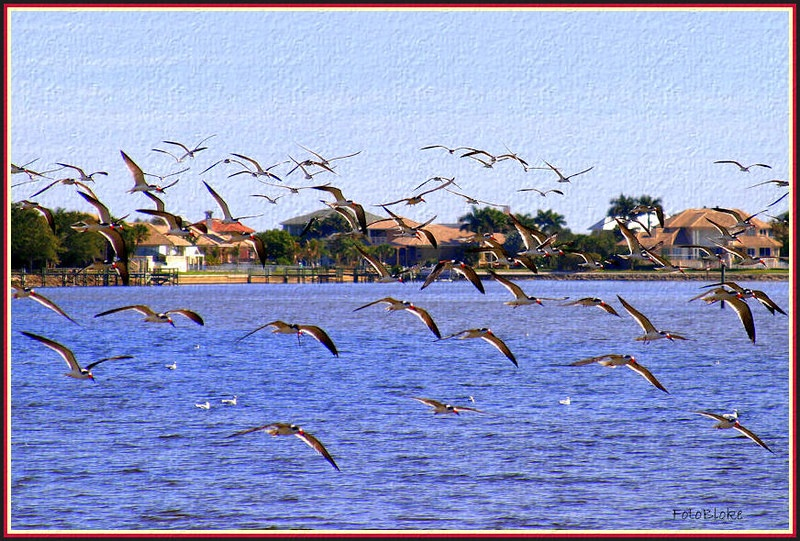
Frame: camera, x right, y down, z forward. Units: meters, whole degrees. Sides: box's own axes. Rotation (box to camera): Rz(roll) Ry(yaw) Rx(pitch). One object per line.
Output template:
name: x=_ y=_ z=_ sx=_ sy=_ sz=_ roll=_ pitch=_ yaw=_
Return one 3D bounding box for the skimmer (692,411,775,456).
skimmer: x=17.211 y=8.178 z=100.997 sx=2.704 sy=2.006 sz=11.569 roll=-5 pitch=-5 yaw=8
